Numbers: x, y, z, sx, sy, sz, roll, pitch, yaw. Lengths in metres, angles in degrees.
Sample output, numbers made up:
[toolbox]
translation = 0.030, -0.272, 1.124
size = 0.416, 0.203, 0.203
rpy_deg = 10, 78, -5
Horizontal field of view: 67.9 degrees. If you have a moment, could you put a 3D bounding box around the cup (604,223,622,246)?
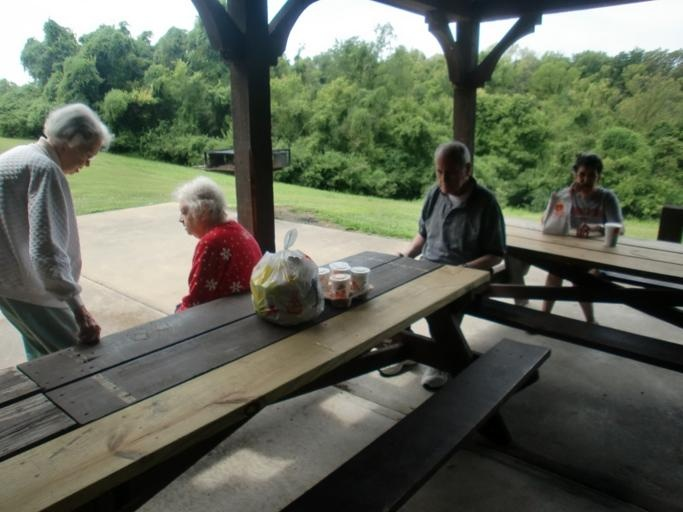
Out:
[cup]
translation = 2.038, -0.175, 3.857
size = 0.149, 0.189, 0.163
rpy_deg = -2, 13, 1
